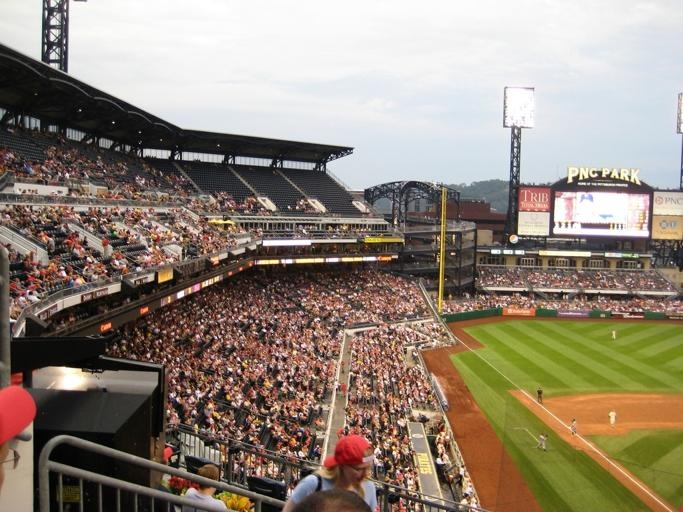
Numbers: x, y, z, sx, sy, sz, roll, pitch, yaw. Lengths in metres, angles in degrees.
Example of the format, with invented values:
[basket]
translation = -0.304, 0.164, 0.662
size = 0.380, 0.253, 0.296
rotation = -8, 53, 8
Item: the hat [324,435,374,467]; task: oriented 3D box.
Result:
[hat]
translation = 0.100, 2.525, 7.820
size = 0.597, 0.281, 0.369
rotation = -4, 16, 7
